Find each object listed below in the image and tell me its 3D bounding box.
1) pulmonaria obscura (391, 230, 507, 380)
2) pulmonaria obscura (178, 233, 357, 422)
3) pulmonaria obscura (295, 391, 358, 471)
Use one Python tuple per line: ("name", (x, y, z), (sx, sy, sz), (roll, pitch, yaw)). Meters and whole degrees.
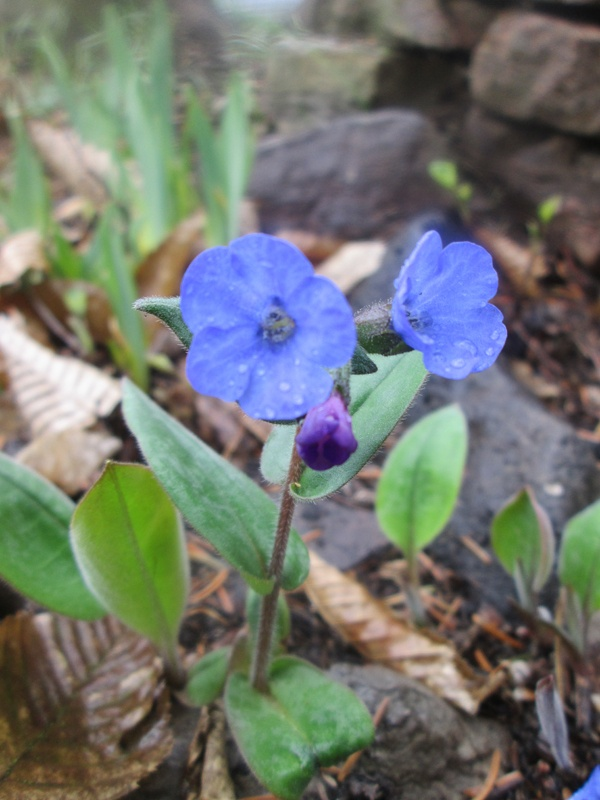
("pulmonaria obscura", (0.139, -0.087, 0.701), (0.061, 0.125, 0.135), (-10, 26, 50))
("pulmonaria obscura", (-0.014, -0.067, 0.706), (0.202, 0.146, 0.159), (-4, 29, -6))
("pulmonaria obscura", (0.022, 0.028, 0.673), (0.063, 0.053, 0.063), (1, 27, 3))
